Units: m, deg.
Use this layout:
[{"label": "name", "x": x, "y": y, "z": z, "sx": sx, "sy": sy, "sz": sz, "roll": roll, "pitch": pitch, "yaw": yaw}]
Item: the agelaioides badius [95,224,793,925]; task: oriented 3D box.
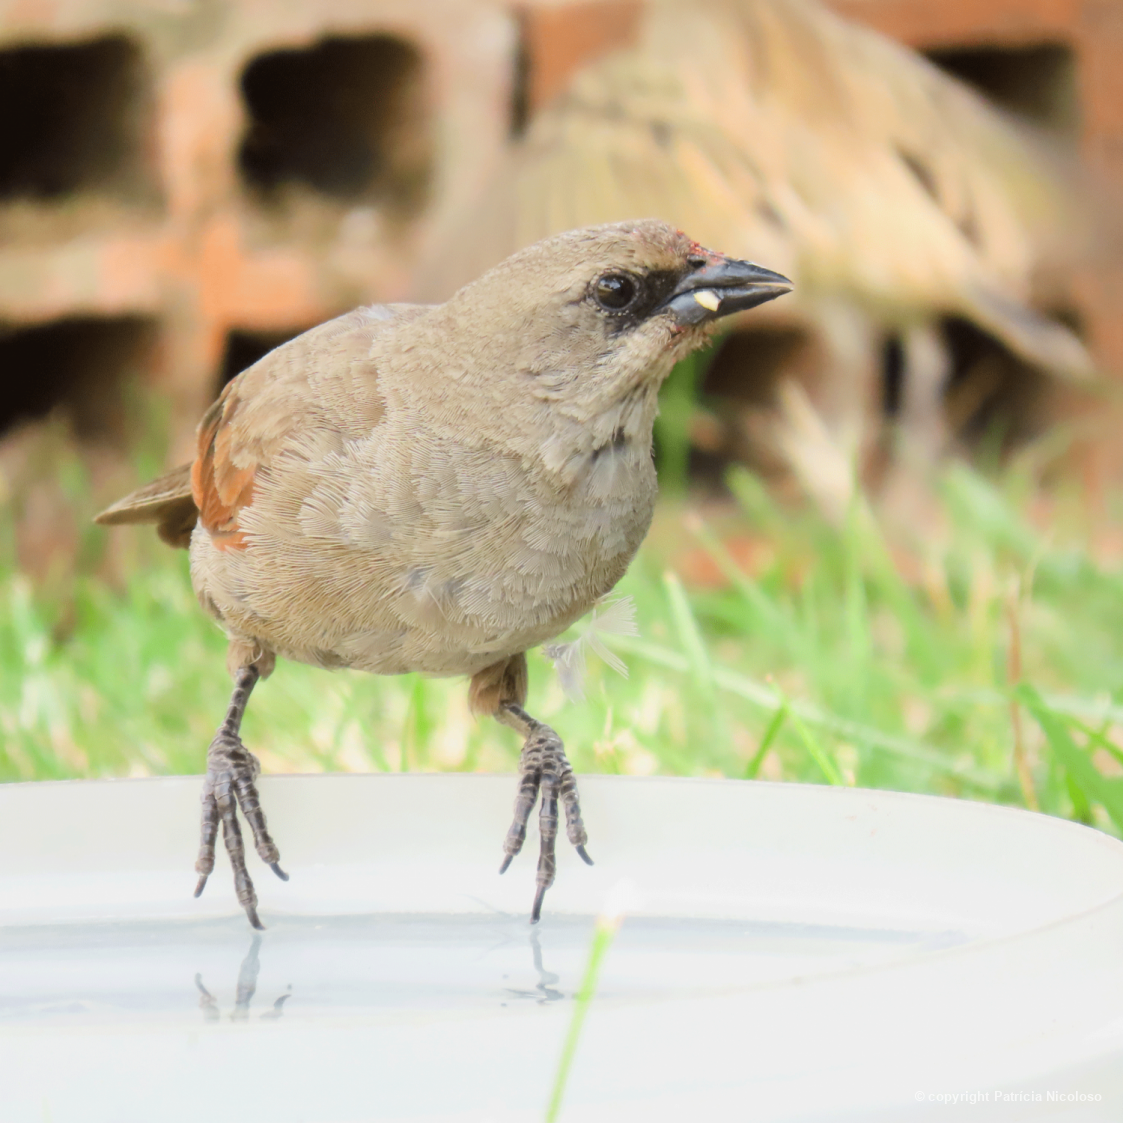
[{"label": "agelaioides badius", "x": -0.150, "y": -0.116, "z": 1.827, "sx": 0.671, "sy": 0.553, "sz": 0.436, "roll": 10, "pitch": 42, "yaw": 4}]
